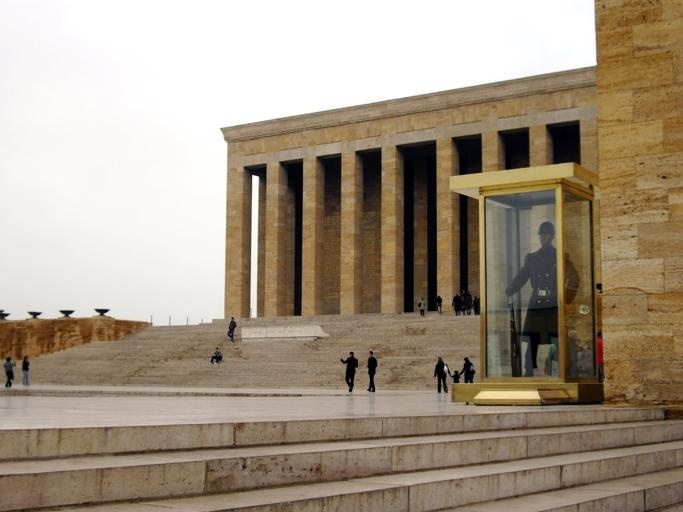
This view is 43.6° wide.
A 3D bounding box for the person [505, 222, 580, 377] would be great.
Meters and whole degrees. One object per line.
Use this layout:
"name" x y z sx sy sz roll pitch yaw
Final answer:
"person" 2.664 0.535 11.536 0.432 1.970 0.777 1 14 -42
